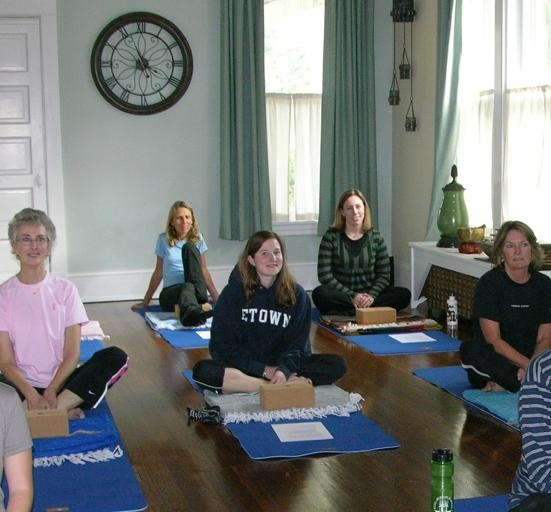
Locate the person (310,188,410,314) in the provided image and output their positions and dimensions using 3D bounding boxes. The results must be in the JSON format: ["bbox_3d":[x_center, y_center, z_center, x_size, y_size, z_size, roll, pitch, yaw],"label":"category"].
[{"bbox_3d":[0.665,-0.038,4.169,0.728,1.043,0.590,0,1,0],"label":"person"}]

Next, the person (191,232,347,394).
[{"bbox_3d":[-0.072,0.283,2.549,0.702,0.806,0.571,2,-6,-25],"label":"person"}]

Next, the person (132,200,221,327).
[{"bbox_3d":[-0.737,0.044,4.193,0.639,0.945,0.796,-4,11,-27],"label":"person"}]

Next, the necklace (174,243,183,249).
[{"bbox_3d":[-0.818,-0.091,4.420,0.046,0.053,0.013,0,-13,-23],"label":"necklace"}]

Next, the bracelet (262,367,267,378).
[{"bbox_3d":[-0.050,0.565,2.501,0.023,0.039,0.036,14,18,9],"label":"bracelet"}]

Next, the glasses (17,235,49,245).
[{"bbox_3d":[-0.977,-0.063,2.084,0.107,0.040,0.027,-3,6,-23],"label":"glasses"}]
